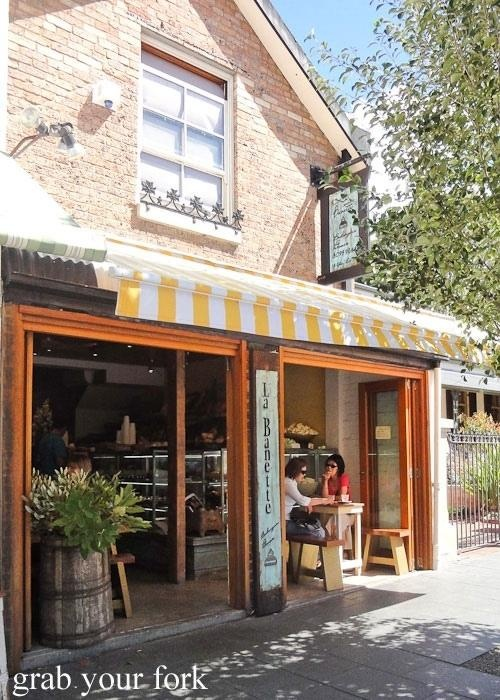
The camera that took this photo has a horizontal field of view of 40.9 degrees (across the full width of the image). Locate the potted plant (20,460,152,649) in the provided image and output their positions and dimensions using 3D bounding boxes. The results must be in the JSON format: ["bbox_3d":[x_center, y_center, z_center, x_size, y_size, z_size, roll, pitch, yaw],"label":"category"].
[{"bbox_3d":[-1.109,1.577,5.519,1.103,1.518,1.158,0,-5,-4],"label":"potted plant"}]

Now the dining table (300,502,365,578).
[{"bbox_3d":[1.131,2.347,8.075,0.430,0.479,0.387,-10,7,-26],"label":"dining table"}]

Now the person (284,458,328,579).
[{"bbox_3d":[0.612,1.960,7.838,0.705,1.389,0.556,5,-14,0],"label":"person"}]

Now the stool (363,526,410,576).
[{"bbox_3d":[1.707,2.540,8.494,0.288,0.501,0.577,14,-17,-41],"label":"stool"}]

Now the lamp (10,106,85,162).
[{"bbox_3d":[-1.740,-1.858,5.726,0.618,0.225,0.365,-17,-42,-39],"label":"lamp"}]

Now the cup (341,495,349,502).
[{"bbox_3d":[1.166,1.821,8.238,0.088,0.093,0.086,2,4,0],"label":"cup"}]

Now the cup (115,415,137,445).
[{"bbox_3d":[-1.949,1.304,10.722,0.414,0.586,0.400,-1,-13,0],"label":"cup"}]
